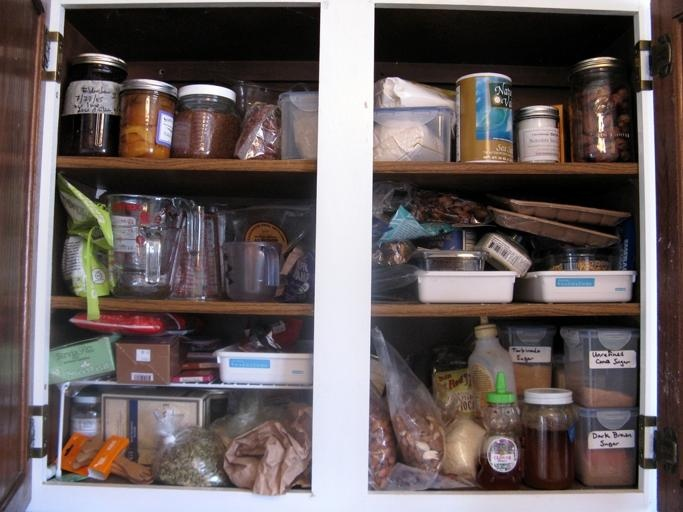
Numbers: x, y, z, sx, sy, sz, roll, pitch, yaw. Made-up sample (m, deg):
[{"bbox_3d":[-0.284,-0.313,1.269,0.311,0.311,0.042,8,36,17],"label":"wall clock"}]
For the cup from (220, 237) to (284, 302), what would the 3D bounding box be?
[{"bbox_3d":[-0.251,0.042,1.885,0.141,0.160,0.177,2,-5,-39],"label":"cup"}]

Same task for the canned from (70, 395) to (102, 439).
[{"bbox_3d":[-0.760,0.463,1.906,0.101,0.109,0.101,-15,-17,39],"label":"canned"}]

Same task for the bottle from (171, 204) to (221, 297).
[{"bbox_3d":[-0.438,-0.035,1.972,0.159,0.277,0.156,5,20,-2],"label":"bottle"}]

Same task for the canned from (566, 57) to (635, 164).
[{"bbox_3d":[0.734,-0.402,1.847,0.171,0.279,0.173,-7,5,-33],"label":"canned"}]

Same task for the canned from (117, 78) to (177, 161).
[{"bbox_3d":[-0.560,-0.366,1.862,0.146,0.229,0.163,4,-5,-34],"label":"canned"}]

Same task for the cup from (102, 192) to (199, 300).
[{"bbox_3d":[-0.543,-0.024,1.927,0.305,0.306,0.193,-1,2,-8],"label":"cup"}]

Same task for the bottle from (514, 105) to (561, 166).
[{"bbox_3d":[0.559,-0.339,1.865,0.142,0.146,0.137,-4,3,-24],"label":"bottle"}]

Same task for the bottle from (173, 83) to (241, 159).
[{"bbox_3d":[-0.389,-0.380,1.902,0.209,0.201,0.208,2,7,-11],"label":"bottle"}]

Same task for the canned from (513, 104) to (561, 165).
[{"bbox_3d":[0.560,-0.339,1.862,0.137,0.145,0.140,0,5,34],"label":"canned"}]

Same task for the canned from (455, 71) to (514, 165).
[{"bbox_3d":[0.392,-0.362,1.817,0.160,0.244,0.168,-2,-4,41],"label":"canned"}]
